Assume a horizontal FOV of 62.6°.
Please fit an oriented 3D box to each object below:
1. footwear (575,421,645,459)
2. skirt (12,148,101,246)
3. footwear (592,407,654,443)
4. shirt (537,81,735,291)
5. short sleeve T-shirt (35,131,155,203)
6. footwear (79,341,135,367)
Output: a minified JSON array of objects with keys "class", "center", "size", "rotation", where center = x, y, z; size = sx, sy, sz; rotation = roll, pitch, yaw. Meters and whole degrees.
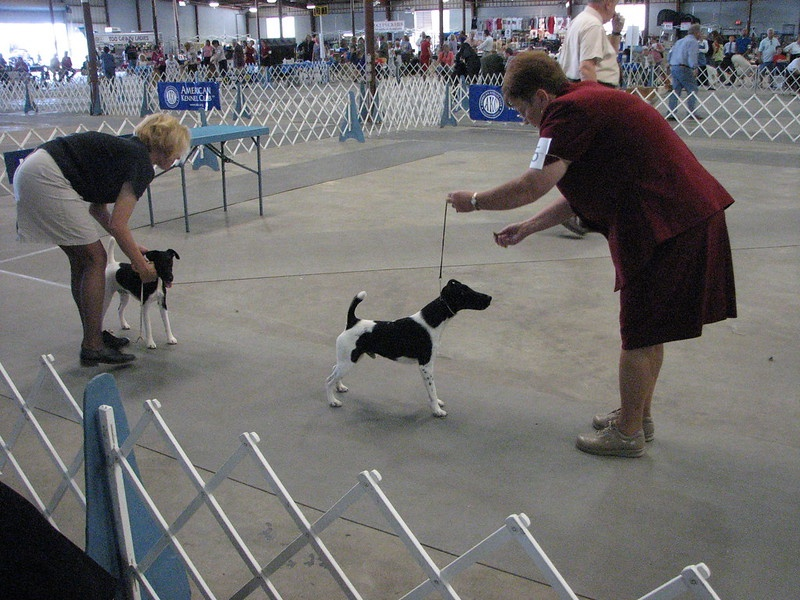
[{"class":"footwear","center":[1.096,0.731,3.485],"size":[0.347,0.182,0.147],"rotation":[3,17,7]},{"class":"skirt","center":[-2.251,-0.666,4.248],"size":[0.526,0.623,0.388],"rotation":[7,12,36]},{"class":"footwear","center":[1.200,0.659,3.516],"size":[0.366,0.175,0.145],"rotation":[2,29,16]},{"class":"shirt","center":[1.053,-0.608,3.278],"size":[0.988,0.955,0.735],"rotation":[9,21,31]},{"class":"short sleeve T-shirt","center":[-1.895,-0.850,4.145],"size":[0.579,0.397,0.427],"rotation":[20,-4,-38]},{"class":"footwear","center":[-1.938,0.352,4.427],"size":[0.377,0.180,0.148],"rotation":[-1,17,-9]}]
